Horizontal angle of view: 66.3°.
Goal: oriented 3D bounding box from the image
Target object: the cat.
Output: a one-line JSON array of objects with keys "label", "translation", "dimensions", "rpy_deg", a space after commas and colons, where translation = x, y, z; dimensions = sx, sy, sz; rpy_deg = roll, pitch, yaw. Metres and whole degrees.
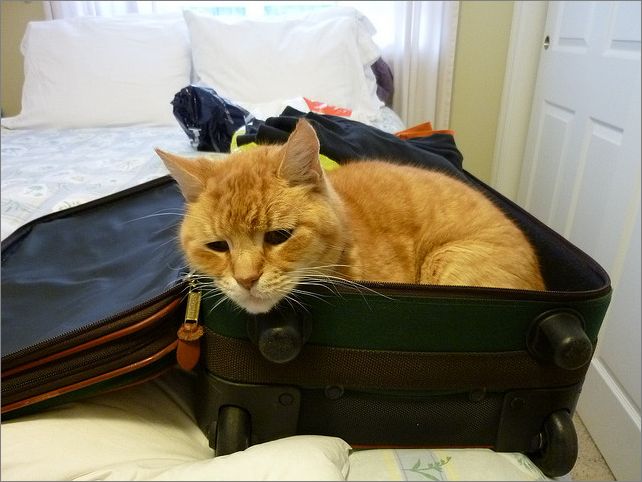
[{"label": "cat", "translation": [0.077, -0.134, 1.138], "dimensions": [0.526, 0.314, 0.695], "rpy_deg": [12, 24, 39]}]
